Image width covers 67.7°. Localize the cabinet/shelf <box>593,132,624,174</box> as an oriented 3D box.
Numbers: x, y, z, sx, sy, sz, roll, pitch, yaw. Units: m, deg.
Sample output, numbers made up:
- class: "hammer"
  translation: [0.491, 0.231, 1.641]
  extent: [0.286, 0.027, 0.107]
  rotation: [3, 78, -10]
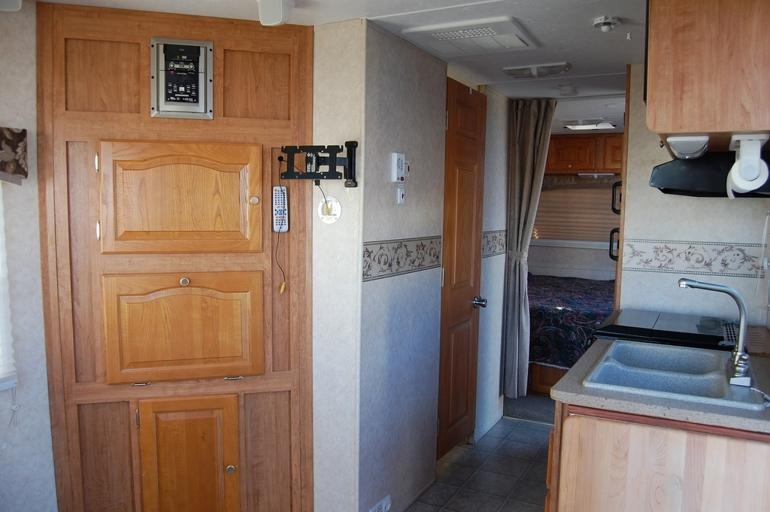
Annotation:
- class: "cabinet/shelf"
  translation: [2.568, -1.172, 6.566]
  extent: [0.260, 0.462, 0.142]
  rotation: [6, 15, 37]
